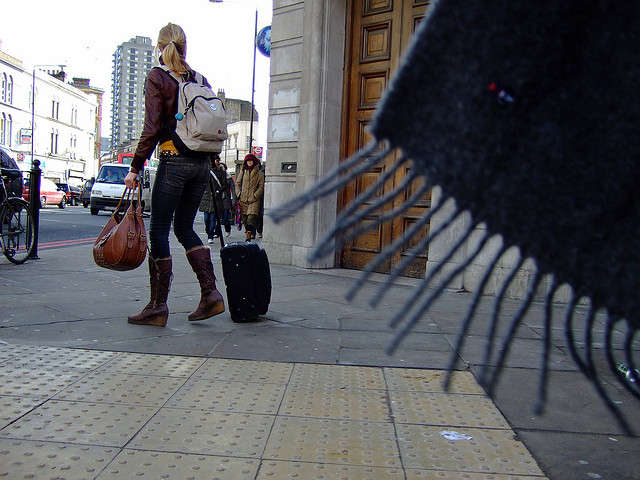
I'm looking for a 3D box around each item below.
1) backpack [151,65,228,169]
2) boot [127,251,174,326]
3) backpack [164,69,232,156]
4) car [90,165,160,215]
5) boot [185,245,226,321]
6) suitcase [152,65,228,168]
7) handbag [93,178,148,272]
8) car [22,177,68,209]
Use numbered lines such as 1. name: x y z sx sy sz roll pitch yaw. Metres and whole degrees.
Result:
1. backpack: -0.993 -1.017 4.243 0.411 0.747 0.519 0 11 34
2. boot: -1.366 0.372 4.281 0.340 0.575 0.337 0 4 -18
3. backpack: -0.982 -1.002 4.237 0.383 0.704 0.516 -2 8 26
4. car: -8.648 -2.459 24.329 2.430 2.227 4.098 3 9 -1
5. boot: -0.945 0.352 4.408 0.325 0.627 0.232 2 4 -1
6. suitcase: -1.007 -1.015 4.223 0.408 0.725 0.465 1 12 30
7. handbag: -1.541 -0.035 4.113 0.301 0.548 0.269 3 4 22
8. car: -17.123 -2.912 32.984 1.556 1.658 3.175 4 4 3
